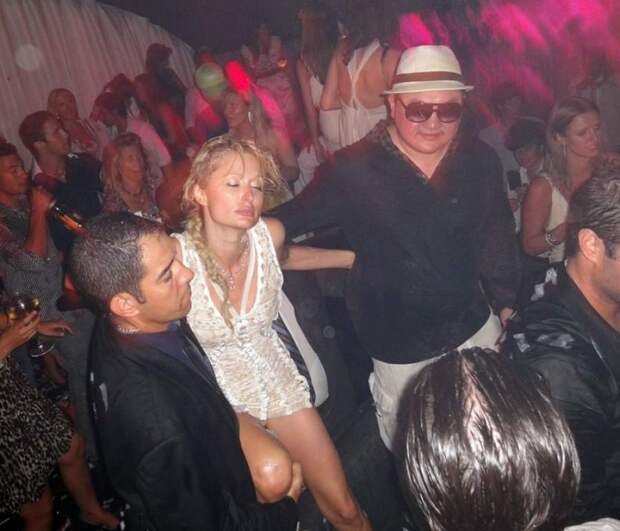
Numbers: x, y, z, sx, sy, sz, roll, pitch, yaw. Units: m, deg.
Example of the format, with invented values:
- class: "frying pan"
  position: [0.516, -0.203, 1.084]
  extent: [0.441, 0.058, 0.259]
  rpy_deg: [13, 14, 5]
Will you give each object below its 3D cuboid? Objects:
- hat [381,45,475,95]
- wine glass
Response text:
- class: "hat"
  position: [0.698, -1.085, 3.234]
  extent: [0.349, 0.155, 0.347]
  rpy_deg: [0, 10, 23]
- class: "wine glass"
  position: [-1.939, 0.401, 3.821]
  extent: [0.247, 0.507, 0.241]
  rpy_deg: [-30, 40, -28]
